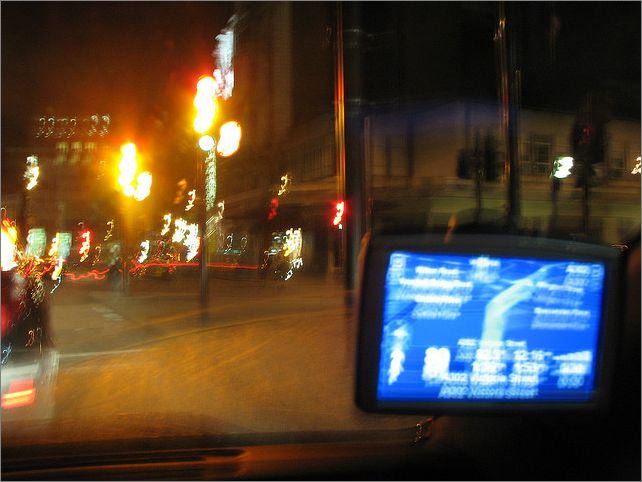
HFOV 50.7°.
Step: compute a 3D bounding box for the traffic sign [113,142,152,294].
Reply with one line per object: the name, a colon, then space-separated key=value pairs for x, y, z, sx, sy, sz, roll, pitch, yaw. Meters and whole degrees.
traffic sign: x=-2.511 y=-0.381 z=8.916 sx=0.412 sy=1.732 sz=0.385 roll=11 pitch=16 yaw=0
